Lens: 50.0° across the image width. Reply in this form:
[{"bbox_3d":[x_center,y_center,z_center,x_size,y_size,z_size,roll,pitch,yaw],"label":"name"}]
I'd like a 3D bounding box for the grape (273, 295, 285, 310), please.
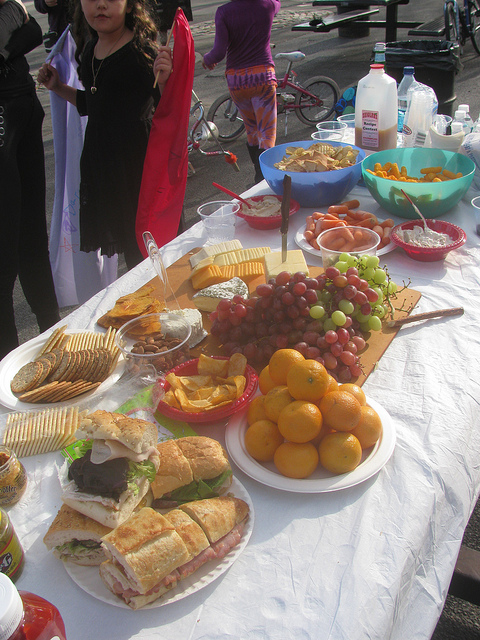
[{"bbox_3d":[0.123,-0.052,1.558,0.023,0.038,0.026,-23,-2,-33],"label":"grape"}]

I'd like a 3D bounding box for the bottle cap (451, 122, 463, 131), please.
[{"bbox_3d":[1.104,-0.987,2.622,0.056,0.037,0.050,6,31,18],"label":"bottle cap"}]

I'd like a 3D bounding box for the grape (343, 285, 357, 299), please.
[{"bbox_3d":[0.329,-0.082,1.524,0.040,0.036,0.047,17,36,32],"label":"grape"}]

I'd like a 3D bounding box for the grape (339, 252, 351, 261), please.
[{"bbox_3d":[0.344,-0.211,1.704,0.031,0.031,0.037,52,24,8],"label":"grape"}]

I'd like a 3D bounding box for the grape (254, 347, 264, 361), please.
[{"bbox_3d":[0.058,0.105,1.540,0.036,0.041,0.034,-5,20,-6],"label":"grape"}]

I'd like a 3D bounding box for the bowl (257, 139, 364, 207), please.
[{"bbox_3d":[0.398,-0.708,2.568,0.543,0.243,0.525,-4,24,2],"label":"bowl"}]

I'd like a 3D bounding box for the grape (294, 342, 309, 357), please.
[{"bbox_3d":[0.174,0.078,1.460,0.037,0.044,0.036,-10,16,2],"label":"grape"}]

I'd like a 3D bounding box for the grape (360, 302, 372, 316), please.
[{"bbox_3d":[0.384,-0.031,1.565,0.039,0.048,0.020,-28,37,-35],"label":"grape"}]

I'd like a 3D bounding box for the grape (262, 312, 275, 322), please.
[{"bbox_3d":[0.083,-0.010,1.564,0.029,0.029,0.015,28,64,23],"label":"grape"}]

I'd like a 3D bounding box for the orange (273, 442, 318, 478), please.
[{"bbox_3d":[0.126,0.316,1.158,0.095,0.078,0.057,-2,30,4],"label":"orange"}]

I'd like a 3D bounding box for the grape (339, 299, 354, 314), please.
[{"bbox_3d":[0.316,-0.037,1.524,0.044,0.042,0.033,-6,30,-2],"label":"grape"}]

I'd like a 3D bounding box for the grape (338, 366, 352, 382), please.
[{"bbox_3d":[0.295,0.151,1.449,0.037,0.036,0.043,3,54,0],"label":"grape"}]

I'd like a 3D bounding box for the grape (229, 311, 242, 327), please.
[{"bbox_3d":[-0.016,-0.003,1.583,0.025,0.041,0.029,-28,1,25],"label":"grape"}]

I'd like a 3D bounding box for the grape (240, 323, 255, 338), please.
[{"bbox_3d":[0.021,0.032,1.589,0.050,0.036,0.024,22,39,38],"label":"grape"}]

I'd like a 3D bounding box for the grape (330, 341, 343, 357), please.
[{"bbox_3d":[0.268,0.081,1.430,0.030,0.030,0.039,14,32,-13],"label":"grape"}]

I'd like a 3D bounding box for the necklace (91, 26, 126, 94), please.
[{"bbox_3d":[-0.719,-1.414,2.795,0.208,0.313,0.153,3,31,13],"label":"necklace"}]

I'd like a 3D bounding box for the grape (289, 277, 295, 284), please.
[{"bbox_3d":[0.155,-0.122,1.545,0.013,0.012,0.012,6,61,9],"label":"grape"}]

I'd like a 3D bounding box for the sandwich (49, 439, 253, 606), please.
[{"bbox_3d":[-0.123,0.386,1.031,0.244,0.105,0.315,26,45,30],"label":"sandwich"}]

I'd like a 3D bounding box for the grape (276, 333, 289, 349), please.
[{"bbox_3d":[0.124,0.062,1.516,0.041,0.033,0.043,18,37,34],"label":"grape"}]

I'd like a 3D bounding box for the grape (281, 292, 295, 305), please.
[{"bbox_3d":[0.140,-0.063,1.501,0.035,0.035,0.040,3,57,3],"label":"grape"}]

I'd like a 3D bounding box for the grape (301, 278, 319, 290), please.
[{"bbox_3d":[0.210,-0.111,1.540,0.042,0.025,0.029,-2,0,31],"label":"grape"}]

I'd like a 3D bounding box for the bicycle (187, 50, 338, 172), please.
[{"bbox_3d":[0.494,-3.469,7.815,2.126,1.293,0.975,-11,46,1],"label":"bicycle"}]

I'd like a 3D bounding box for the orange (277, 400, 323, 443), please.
[{"bbox_3d":[0.131,0.227,1.162,0.102,0.080,0.087,3,30,12],"label":"orange"}]

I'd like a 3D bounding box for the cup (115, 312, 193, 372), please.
[{"bbox_3d":[-0.264,0.105,1.577,0.199,0.097,0.201,-6,37,4],"label":"cup"}]

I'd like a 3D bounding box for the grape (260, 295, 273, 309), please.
[{"bbox_3d":[0.080,-0.056,1.558,0.023,0.024,0.045,40,21,-2],"label":"grape"}]

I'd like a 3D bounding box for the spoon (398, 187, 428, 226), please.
[{"bbox_3d":[0.772,-0.486,2.246,0.327,0.043,0.044,18,41,-46],"label":"spoon"}]

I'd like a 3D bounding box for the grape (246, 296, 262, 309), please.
[{"bbox_3d":[0.038,-0.056,1.594,0.024,0.020,0.034,-8,14,27],"label":"grape"}]

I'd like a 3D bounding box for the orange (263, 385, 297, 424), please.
[{"bbox_3d":[0.096,0.199,1.227,0.078,0.090,0.079,-1,9,4],"label":"orange"}]

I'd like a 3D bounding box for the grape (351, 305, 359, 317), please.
[{"bbox_3d":[0.345,-0.026,1.552,0.026,0.019,0.025,-4,46,3],"label":"grape"}]

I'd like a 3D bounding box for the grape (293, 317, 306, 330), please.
[{"bbox_3d":[0.172,0.009,1.499,0.027,0.026,0.035,-4,4,-24],"label":"grape"}]

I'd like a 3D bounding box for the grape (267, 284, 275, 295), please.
[{"bbox_3d":[0.095,-0.093,1.564,0.017,0.012,0.020,0,67,-5],"label":"grape"}]

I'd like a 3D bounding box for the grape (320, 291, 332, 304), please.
[{"bbox_3d":[0.260,-0.071,1.559,0.031,0.031,0.035,7,69,8],"label":"grape"}]

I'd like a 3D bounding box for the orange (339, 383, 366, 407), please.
[{"bbox_3d":[0.283,0.177,1.262,0.062,0.070,0.059,12,-2,2],"label":"orange"}]

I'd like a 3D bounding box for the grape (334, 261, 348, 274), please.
[{"bbox_3d":[0.325,-0.167,1.647,0.034,0.035,0.039,17,37,-17],"label":"grape"}]

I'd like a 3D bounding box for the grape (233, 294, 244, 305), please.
[{"bbox_3d":[-0.002,-0.065,1.639,0.030,0.036,0.029,4,71,3],"label":"grape"}]

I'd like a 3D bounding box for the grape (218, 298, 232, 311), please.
[{"bbox_3d":[-0.047,-0.049,1.614,0.030,0.030,0.039,-25,8,-5],"label":"grape"}]

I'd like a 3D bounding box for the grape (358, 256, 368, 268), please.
[{"bbox_3d":[0.391,-0.186,1.638,0.025,0.019,0.032,10,48,4],"label":"grape"}]

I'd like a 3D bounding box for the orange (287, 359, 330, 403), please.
[{"bbox_3d":[0.159,0.147,1.203,0.098,0.083,0.084,1,30,9],"label":"orange"}]

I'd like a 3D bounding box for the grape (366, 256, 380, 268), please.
[{"bbox_3d":[0.421,-0.186,1.643,0.036,0.035,0.059,-18,-2,-3],"label":"grape"}]

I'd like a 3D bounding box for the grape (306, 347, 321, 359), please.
[{"bbox_3d":[0.204,0.091,1.447,0.041,0.023,0.040,7,31,19],"label":"grape"}]

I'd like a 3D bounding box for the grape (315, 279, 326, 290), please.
[{"bbox_3d":[0.251,-0.112,1.587,0.035,0.021,0.028,-61,15,-22],"label":"grape"}]

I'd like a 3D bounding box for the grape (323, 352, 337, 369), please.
[{"bbox_3d":[0.248,0.112,1.423,0.029,0.024,0.043,-1,18,1],"label":"grape"}]

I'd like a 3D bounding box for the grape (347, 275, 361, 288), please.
[{"bbox_3d":[0.341,-0.116,1.541,0.029,0.029,0.039,18,-3,7],"label":"grape"}]

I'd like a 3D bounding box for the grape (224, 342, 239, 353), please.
[{"bbox_3d":[-0.025,0.080,1.571,0.037,0.026,0.027,-19,6,-3],"label":"grape"}]
